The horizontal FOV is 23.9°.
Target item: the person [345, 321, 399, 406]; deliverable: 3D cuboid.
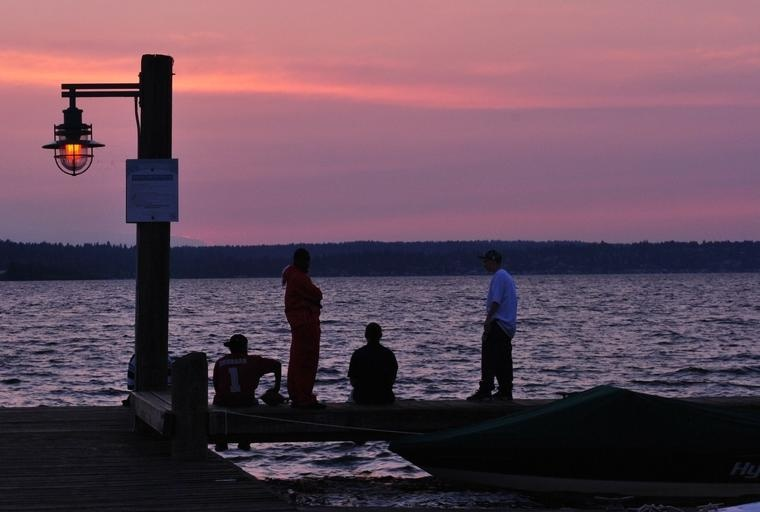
[{"bbox_3d":[-0.222,3.326,56.041,1.486,2.487,0.757,0,4,-1],"label":"person"}]
